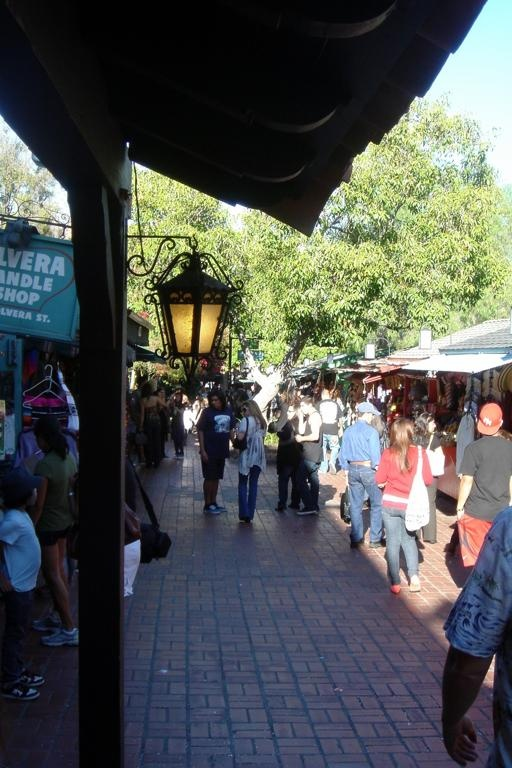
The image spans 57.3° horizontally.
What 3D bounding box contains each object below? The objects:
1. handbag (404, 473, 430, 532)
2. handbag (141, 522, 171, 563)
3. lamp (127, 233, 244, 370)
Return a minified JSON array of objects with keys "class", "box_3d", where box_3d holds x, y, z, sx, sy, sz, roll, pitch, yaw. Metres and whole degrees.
[{"class":"handbag","box_3d":[2.136,1.577,6.196,0.308,0.784,0.225,0,-3,11]},{"class":"handbag","box_3d":[-0.931,1.418,4.227,0.256,0.336,0.181,2,-3,-17]},{"class":"lamp","box_3d":[-0.810,-0.897,5.125,1.098,1.873,0.870,1,11,-8]}]
